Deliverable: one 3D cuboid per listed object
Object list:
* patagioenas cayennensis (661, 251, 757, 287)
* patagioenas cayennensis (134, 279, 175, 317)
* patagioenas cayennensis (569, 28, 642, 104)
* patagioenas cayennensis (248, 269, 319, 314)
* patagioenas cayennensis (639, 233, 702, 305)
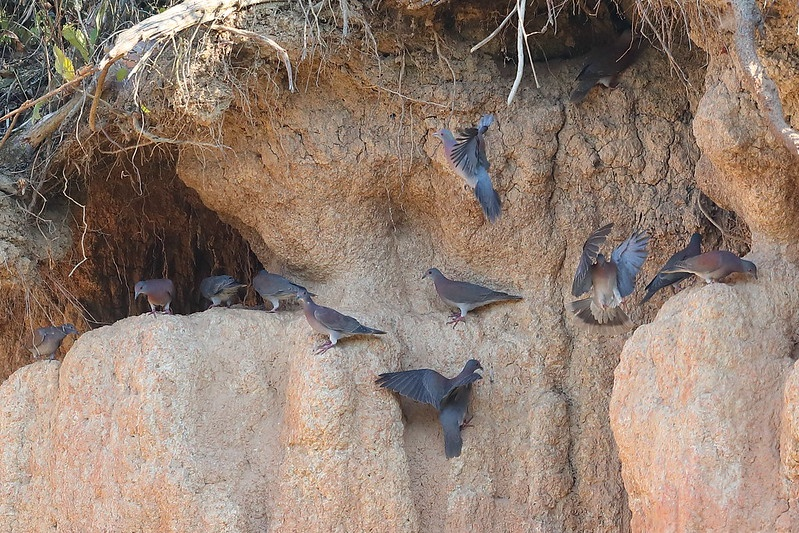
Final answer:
[{"bbox_3d":[2.139,-0.013,13.079,0.655,0.226,0.248,1,16,25],"label":"patagioenas cayennensis"},{"bbox_3d":[-1.871,0.206,14.405,0.195,0.261,0.397,-6,8,27],"label":"patagioenas cayennensis"},{"bbox_3d":[1.578,-1.528,14.308,0.619,0.390,0.204,-30,38,-20],"label":"patagioenas cayennensis"},{"bbox_3d":[-0.930,0.175,14.388,0.585,0.359,0.218,-11,-9,32],"label":"patagioenas cayennensis"},{"bbox_3d":[1.981,-0.018,13.763,0.565,0.351,0.199,-34,18,-8],"label":"patagioenas cayennensis"}]
